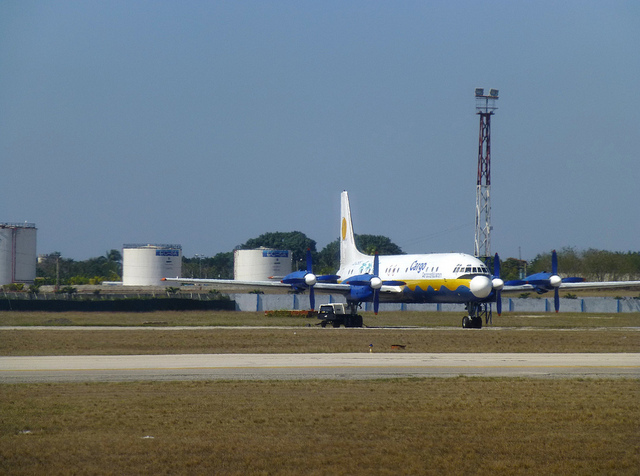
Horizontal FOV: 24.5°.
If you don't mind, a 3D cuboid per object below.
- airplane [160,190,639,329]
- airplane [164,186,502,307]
[{"bbox_3d":[6.435,3.955,114.482,30.031,8.164,31.708,-4,2,-31],"label":"airplane"},{"bbox_3d":[-0.274,3.200,124.996,21.089,7.973,27.311,-4,5,-24],"label":"airplane"}]
